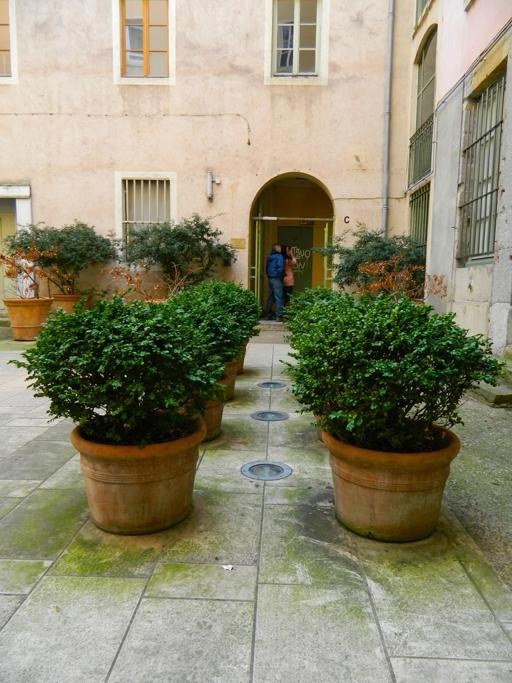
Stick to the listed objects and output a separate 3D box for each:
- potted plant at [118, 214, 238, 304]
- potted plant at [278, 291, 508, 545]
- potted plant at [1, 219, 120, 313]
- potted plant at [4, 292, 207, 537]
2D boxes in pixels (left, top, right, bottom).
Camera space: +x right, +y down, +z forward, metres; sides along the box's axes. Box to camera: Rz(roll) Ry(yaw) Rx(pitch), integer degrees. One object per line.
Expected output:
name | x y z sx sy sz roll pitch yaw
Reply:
potted plant | -1.648 -1.745 10.414 2.456 1.955 1.920 1 13 0
potted plant | 0.606 0.341 2.766 0.832 1.161 1.210 -1 7 -12
potted plant | -3.639 -1.752 10.209 1.932 1.253 1.645 8 25 1
potted plant | -0.666 0.365 2.608 0.864 1.145 0.509 -1 7 -6
